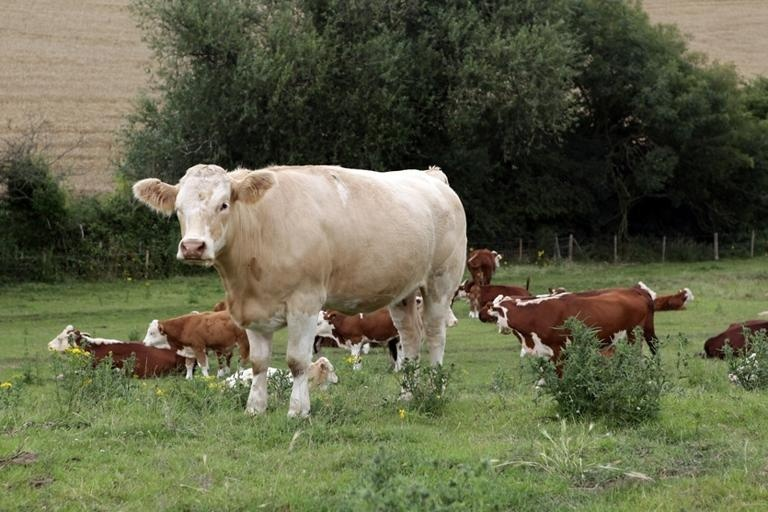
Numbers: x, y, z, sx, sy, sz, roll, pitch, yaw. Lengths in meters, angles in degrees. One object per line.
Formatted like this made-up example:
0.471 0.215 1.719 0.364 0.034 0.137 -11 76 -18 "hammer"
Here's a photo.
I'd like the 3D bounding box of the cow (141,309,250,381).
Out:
-7.729 3.028 42.181 5.522 3.298 1.792 2 -6 1 "cow"
